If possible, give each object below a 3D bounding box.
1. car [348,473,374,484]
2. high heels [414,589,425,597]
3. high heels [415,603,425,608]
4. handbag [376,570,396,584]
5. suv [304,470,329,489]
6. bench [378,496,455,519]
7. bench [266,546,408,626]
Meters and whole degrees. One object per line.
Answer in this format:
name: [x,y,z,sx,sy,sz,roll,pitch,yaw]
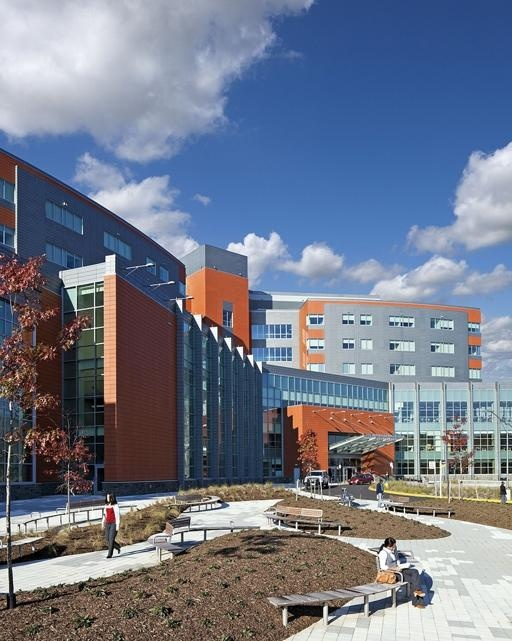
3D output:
car: [8.178,12.501,55.234,0.844,0.634,2.025,-25,-34,38]
high heels: [2.644,4.499,11.527,0.106,0.118,0.271,10,-21,-24]
high heels: [2.645,4.627,11.392,0.149,0.078,0.179,-4,-10,11]
handbag: [2.152,4.296,11.698,0.345,0.231,0.182,-22,-63,44]
suv: [3.726,9.989,44.014,0.942,0.747,1.921,-5,-28,8]
bench: [6.976,8.021,30.557,2.860,0.507,7.063,-4,-10,9]
bench: [1.293,4.350,10.997,3.006,0.559,1.103,8,-14,-44]
